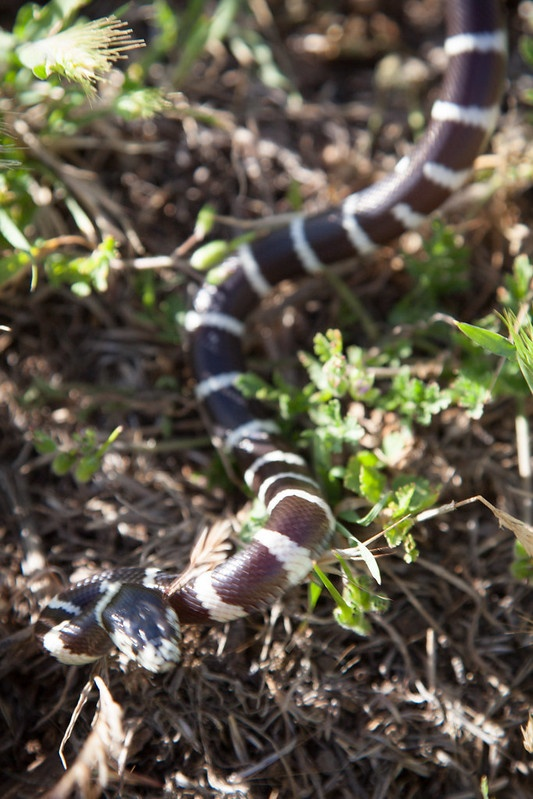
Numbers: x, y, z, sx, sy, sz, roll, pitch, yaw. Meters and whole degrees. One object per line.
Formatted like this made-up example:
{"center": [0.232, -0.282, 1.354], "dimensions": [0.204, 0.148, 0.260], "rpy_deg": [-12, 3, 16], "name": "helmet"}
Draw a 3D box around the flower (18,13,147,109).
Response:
{"center": [-0.712, -1.347, 2.841], "dimensions": [0.346, 0.240, 0.640], "rpy_deg": [-25, 46, -24], "name": "flower"}
